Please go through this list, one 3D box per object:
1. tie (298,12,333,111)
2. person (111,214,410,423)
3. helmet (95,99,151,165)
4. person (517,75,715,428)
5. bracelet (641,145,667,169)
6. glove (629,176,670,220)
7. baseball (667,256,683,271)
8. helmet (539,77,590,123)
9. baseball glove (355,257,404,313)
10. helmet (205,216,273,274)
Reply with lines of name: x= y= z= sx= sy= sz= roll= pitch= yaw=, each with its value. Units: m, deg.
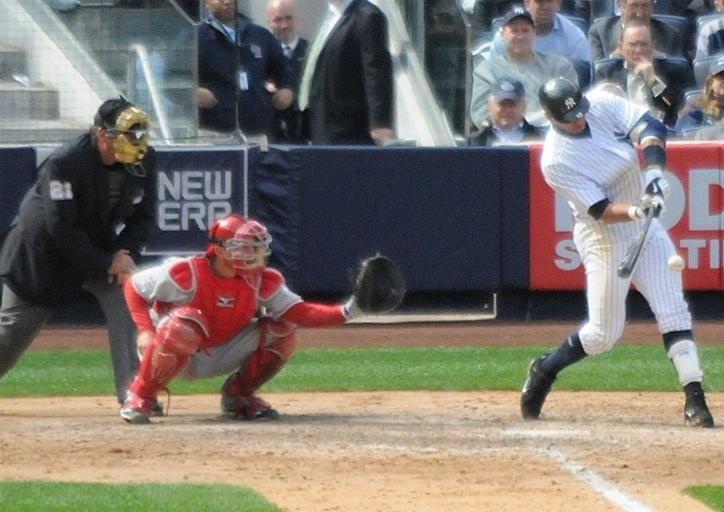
tie: x=-0.381 y=-1.710 z=15.067 sx=0.234 sy=0.808 sz=0.269 roll=-24 pitch=29 yaw=-37
person: x=-0.828 y=0.471 z=12.479 sx=1.834 sy=1.510 sz=0.486 roll=0 pitch=14 yaw=2
helmet: x=-1.702 y=-0.913 z=12.530 sx=0.470 sy=0.442 sz=0.413 roll=13 pitch=22 yaw=26
person: x=1.830 y=-0.003 z=12.371 sx=1.345 sy=2.518 sz=0.673 roll=2 pitch=14 yaw=10
bracelet: x=2.075 y=-0.713 z=12.161 sx=0.169 sy=0.155 sz=0.157 roll=1 pitch=0 yaw=15
glove: x=2.024 y=-0.407 z=12.077 sx=0.236 sy=0.307 sz=0.329 roll=4 pitch=14 yaw=17
baseball: x=2.203 y=0.043 z=12.040 sx=0.105 sy=0.075 sz=0.102 roll=-3 pitch=0 yaw=19
helmet: x=1.443 y=-1.108 z=12.258 sx=0.364 sy=0.307 sz=0.214 roll=2 pitch=14 yaw=12
baseball glove: x=0.125 y=0.207 z=12.233 sx=0.348 sy=0.412 sz=0.207 roll=-1 pitch=14 yaw=-1
helmet: x=-0.898 y=-0.093 z=12.398 sx=0.445 sy=0.374 sz=0.247 roll=4 pitch=14 yaw=19
